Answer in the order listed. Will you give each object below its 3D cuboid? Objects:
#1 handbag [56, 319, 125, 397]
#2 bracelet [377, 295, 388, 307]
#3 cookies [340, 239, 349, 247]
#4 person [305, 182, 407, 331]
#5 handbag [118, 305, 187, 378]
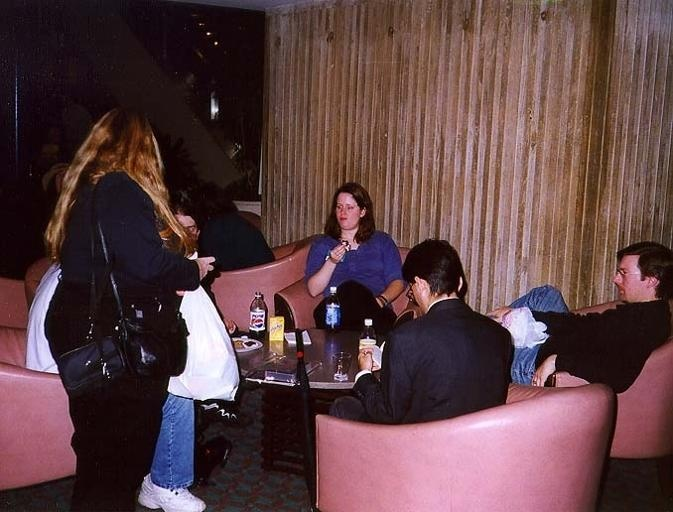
[{"bbox_3d":[-0.929,0.409,2.198,0.251,0.216,0.101,-23,5,-3],"label":"handbag"},{"bbox_3d":[0.314,0.327,4.033,0.066,0.072,0.060,-2,-25,-18],"label":"bracelet"},{"bbox_3d":[0.059,-0.087,3.909,0.046,0.040,0.048,-1,1,-29],"label":"cookies"},{"bbox_3d":[0.166,0.027,4.172,0.653,1.435,0.795,-3,-29,7],"label":"person"},{"bbox_3d":[-0.730,0.337,2.231,0.261,0.299,0.201,0,-3,-16],"label":"handbag"}]
